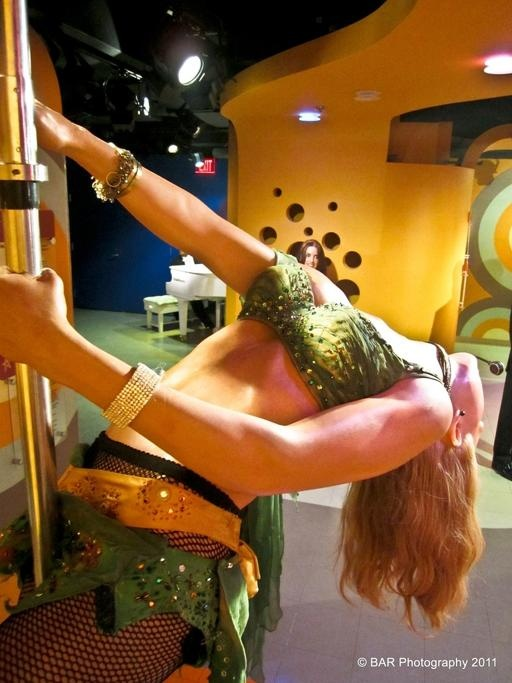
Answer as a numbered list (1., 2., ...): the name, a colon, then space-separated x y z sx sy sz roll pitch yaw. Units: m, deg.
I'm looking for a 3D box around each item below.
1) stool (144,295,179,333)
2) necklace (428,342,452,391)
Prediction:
1. stool: -1.380 -0.399 7.533 0.448 0.481 0.553 12 18 38
2. necklace: 0.422 0.055 1.172 0.067 0.110 0.027 23 -39 -31
